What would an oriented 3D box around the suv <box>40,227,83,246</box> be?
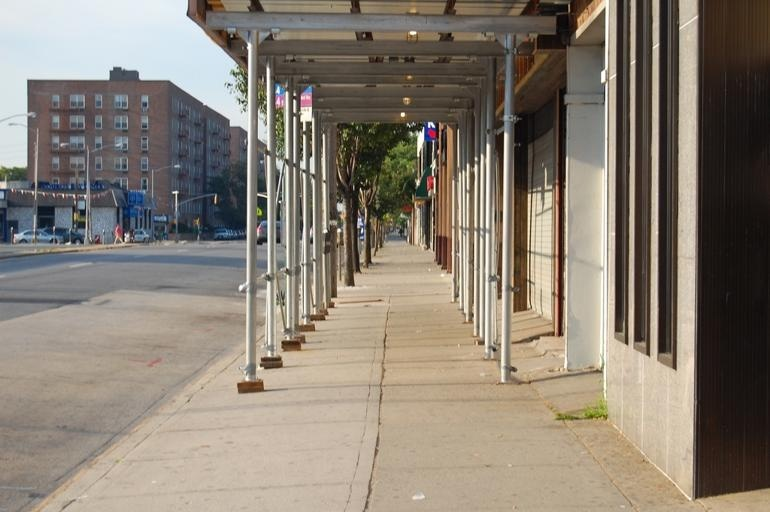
[{"bbox_3d":[-29.195,-1.658,78.446,2.070,1.447,1.430,-2,2,0],"label":"suv"}]
